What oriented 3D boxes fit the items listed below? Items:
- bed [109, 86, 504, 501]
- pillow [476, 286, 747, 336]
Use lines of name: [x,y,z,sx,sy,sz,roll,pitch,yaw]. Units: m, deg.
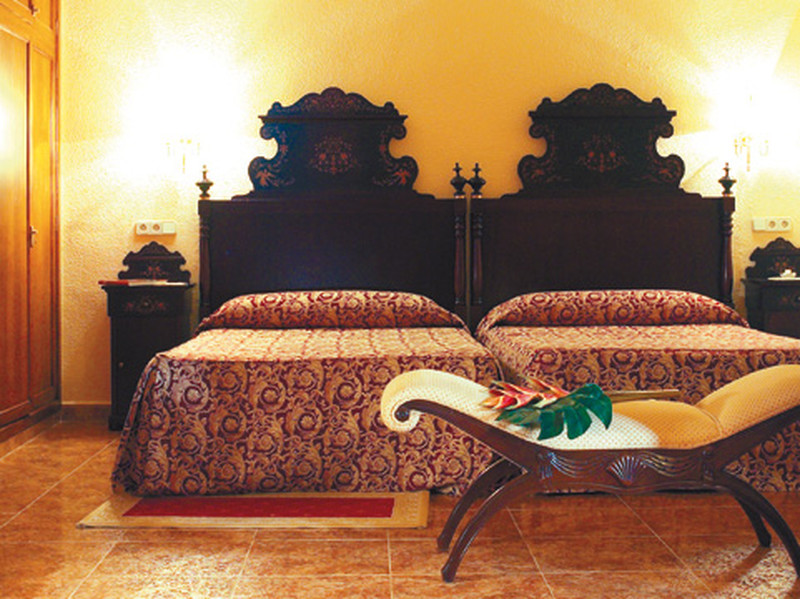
bed: [-0.503,-0.231,4.609,2.208,2.529,2.348,0,2,1]
pillow: [1.300,0.094,4.509,1.553,0.254,0.230,1,8,0]
